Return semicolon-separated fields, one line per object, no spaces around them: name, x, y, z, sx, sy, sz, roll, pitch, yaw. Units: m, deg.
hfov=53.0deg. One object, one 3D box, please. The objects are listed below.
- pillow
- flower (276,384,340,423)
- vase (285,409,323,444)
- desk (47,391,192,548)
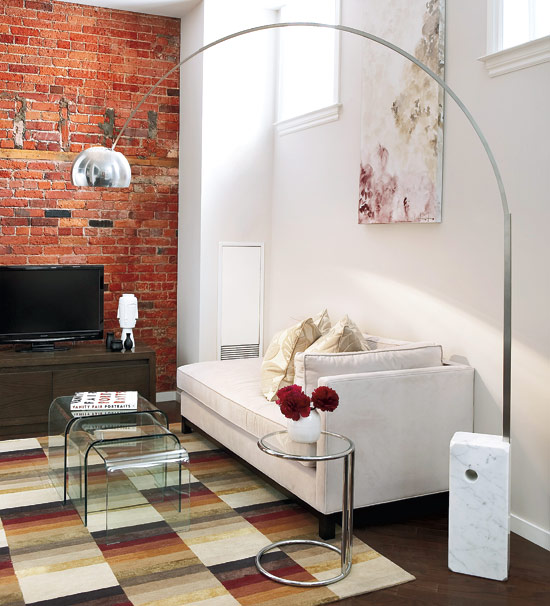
pillow;0.331;0.261;2.832;0.627;0.272;0.615;-6;7;-34
flower;0.118;0.387;2.193;0.174;0.088;0.174;-2;2;-33
vase;0.120;0.501;2.241;0.136;0.125;0.136;2;-2;-28
desk;-0.861;0.848;3.015;0.556;0.472;0.945;0;8;-28
